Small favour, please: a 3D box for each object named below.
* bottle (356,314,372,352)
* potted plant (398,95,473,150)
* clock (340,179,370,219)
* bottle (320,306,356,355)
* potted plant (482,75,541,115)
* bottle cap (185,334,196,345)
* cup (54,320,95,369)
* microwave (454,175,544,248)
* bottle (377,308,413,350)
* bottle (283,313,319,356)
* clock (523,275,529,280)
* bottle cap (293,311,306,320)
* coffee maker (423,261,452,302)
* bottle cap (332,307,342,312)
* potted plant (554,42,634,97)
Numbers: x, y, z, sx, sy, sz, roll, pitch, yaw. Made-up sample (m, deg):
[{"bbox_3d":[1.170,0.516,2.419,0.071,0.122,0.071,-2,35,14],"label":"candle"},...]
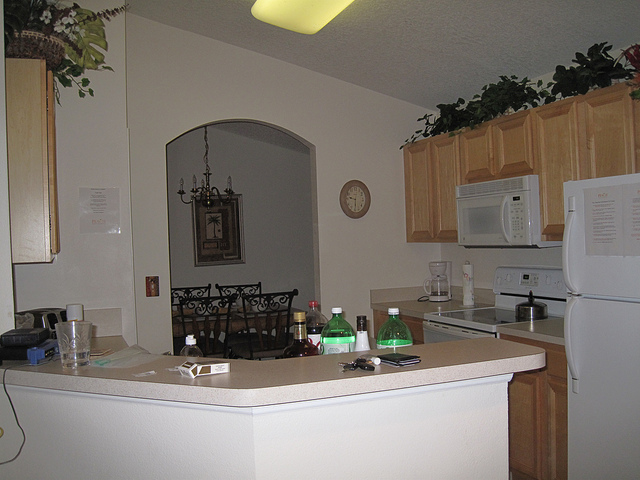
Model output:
[{"bbox_3d":[0.181,0.389,2.104,0.058,0.165,0.211,-2,6,5],"label":"bottle"},{"bbox_3d":[1.091,-1.043,4.337,0.382,0.409,0.914,-5,7,-24],"label":"potted plant"},{"bbox_3d":[0.325,-0.373,4.528,0.345,0.351,0.029,4,11,44],"label":"clock"},{"bbox_3d":[0.069,0.376,2.061,0.147,0.211,0.176,-2,7,2],"label":"bottle"},{"bbox_3d":[1.420,-1.035,3.701,0.335,0.230,0.306,-1,9,-40],"label":"potted plant"},{"bbox_3d":[-0.510,0.396,1.964,0.041,0.043,0.041,6,-8,-33],"label":"bottle cap"},{"bbox_3d":[-0.959,0.422,2.019,0.165,0.190,0.172,-2,-6,0],"label":"cup"},{"bbox_3d":[1.419,-0.197,3.866,0.385,0.517,0.717,-5,2,-26],"label":"microwave"},{"bbox_3d":[0.312,0.367,2.102,0.139,0.191,0.156,-1,7,8],"label":"bottle"},{"bbox_3d":[-0.078,0.376,1.989,0.140,0.202,0.118,-3,7,-3],"label":"bottle"},{"bbox_3d":[1.586,0.284,3.833,0.009,0.034,0.035,11,-9,-42],"label":"clock"},{"bbox_3d":[-0.082,0.291,1.946,0.035,0.025,0.035,2,3,22],"label":"bottle cap"},{"bbox_3d":[1.095,0.367,4.608,0.243,0.355,0.441,0,7,15],"label":"coffee maker"},{"bbox_3d":[0.070,0.286,2.043,0.039,0.020,0.039,2,-1,-4],"label":"bottle cap"},{"bbox_3d":[1.664,-1.041,3.068,0.370,0.180,0.354,-31,-39,-7],"label":"potted plant"}]
